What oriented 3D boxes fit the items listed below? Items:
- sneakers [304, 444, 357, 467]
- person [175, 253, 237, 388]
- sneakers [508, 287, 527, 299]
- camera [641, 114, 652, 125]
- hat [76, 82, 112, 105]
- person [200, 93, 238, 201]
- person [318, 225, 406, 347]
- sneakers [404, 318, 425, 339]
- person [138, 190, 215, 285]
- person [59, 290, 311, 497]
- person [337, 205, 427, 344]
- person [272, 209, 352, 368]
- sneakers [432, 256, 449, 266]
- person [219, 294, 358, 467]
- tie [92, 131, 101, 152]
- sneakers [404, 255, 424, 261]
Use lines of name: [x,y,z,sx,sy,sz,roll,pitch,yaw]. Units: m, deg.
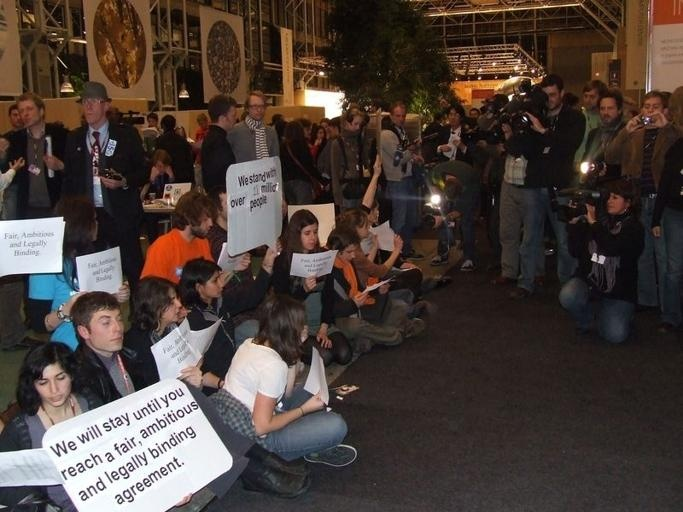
sneakers: [-0.056,1.260,3.506,0.244,0.106,0.145,-6,16,-9]
person: [-0.878,0.430,3.623,0.292,0.998,0.400,-4,30,6]
sneakers: [1.996,0.416,6.340,0.227,0.098,0.089,-4,5,-30]
camera: [2.791,-1.257,5.122,0.074,0.043,0.109,-1,34,18]
hat: [-2.069,-1.393,4.674,0.219,0.166,0.282,-8,15,-22]
person: [-1.149,-1.072,5.246,0.378,0.895,1.073,-5,14,-13]
person: [0.230,0.250,5.167,0.721,1.043,0.746,4,20,18]
sneakers: [0.688,0.697,5.430,0.137,0.071,0.187,-2,8,-8]
person: [-1.384,-0.180,4.687,0.453,0.842,0.616,25,27,4]
person: [-0.836,0.691,3.023,1.339,0.849,0.586,4,5,11]
person: [0.295,0.210,5.143,0.799,1.069,0.913,-9,29,-2]
person: [-0.197,0.267,4.606,0.727,1.244,0.530,12,20,40]
sneakers: [1.373,0.052,7.900,0.245,0.117,0.098,2,5,-19]
person: [-0.270,0.743,3.370,0.715,0.944,0.842,10,10,28]
tie: [-2.092,-0.999,4.760,0.064,0.151,0.057,-5,13,-12]
sneakers: [1.053,0.000,8.173,0.267,0.118,0.096,-1,10,-5]
